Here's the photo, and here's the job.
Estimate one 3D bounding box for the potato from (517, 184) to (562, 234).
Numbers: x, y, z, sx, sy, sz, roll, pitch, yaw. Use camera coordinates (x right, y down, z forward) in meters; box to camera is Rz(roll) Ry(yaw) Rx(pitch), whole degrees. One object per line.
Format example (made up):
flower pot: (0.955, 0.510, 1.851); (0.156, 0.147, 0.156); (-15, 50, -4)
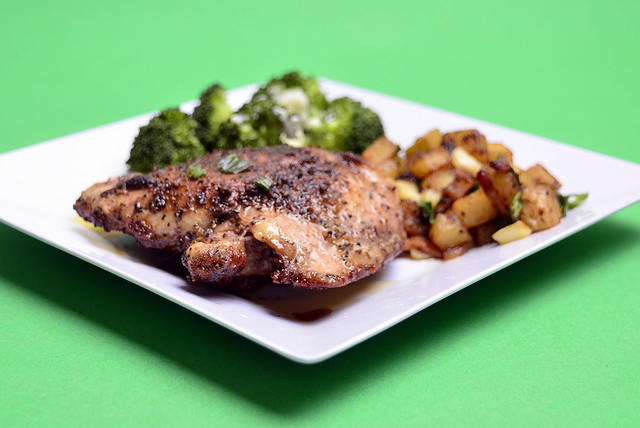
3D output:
potato: (1.601, -0.030, 4.256); (0.344, 0.103, 0.315); (-29, 72, -13)

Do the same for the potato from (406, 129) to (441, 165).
potato: (0.799, -0.499, 4.550); (0.301, 0.082, 0.179); (-31, 56, 15)

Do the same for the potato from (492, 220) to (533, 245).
potato: (1.367, 0.142, 4.157); (0.253, 0.140, 0.127); (-11, 45, -15)

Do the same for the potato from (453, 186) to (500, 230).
potato: (1.130, -0.047, 4.267); (0.306, 0.223, 0.178); (-13, 46, -17)

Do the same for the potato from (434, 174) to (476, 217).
potato: (0.963, -0.158, 4.353); (0.294, 0.083, 0.290); (-50, 19, -14)

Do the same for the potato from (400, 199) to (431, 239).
potato: (0.686, 0.044, 4.355); (0.214, 0.287, 0.102); (-18, 6, -18)

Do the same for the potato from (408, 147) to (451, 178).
potato: (0.811, -0.384, 4.377); (0.266, 0.065, 0.187); (-31, 67, -6)

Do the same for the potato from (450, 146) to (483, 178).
potato: (1.052, -0.387, 4.275); (0.148, 0.094, 0.242); (-43, 71, -4)

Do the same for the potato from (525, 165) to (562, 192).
potato: (1.638, -0.247, 4.352); (0.197, 0.053, 0.193); (-5, 48, -44)
